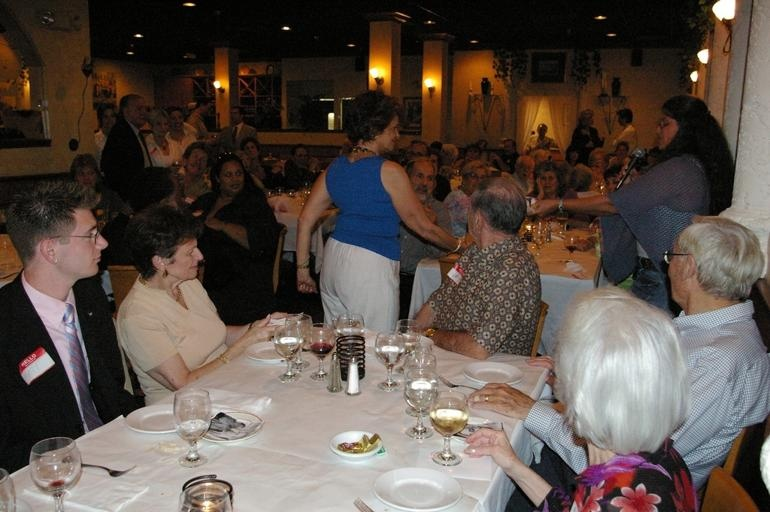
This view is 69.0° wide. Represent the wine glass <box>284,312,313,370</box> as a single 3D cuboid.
[{"bbox_3d":[-0.377,0.381,2.449,0.130,0.264,0.137,21,33,29],"label":"wine glass"}]

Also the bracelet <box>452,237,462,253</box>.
[{"bbox_3d":[0.479,-0.072,3.671,0.030,0.077,0.064,14,-1,-5],"label":"bracelet"}]

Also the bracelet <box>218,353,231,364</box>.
[{"bbox_3d":[-0.736,0.473,2.581,0.041,0.011,0.039,5,33,-12],"label":"bracelet"}]

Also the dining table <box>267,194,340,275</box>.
[{"bbox_3d":[-0.941,-0.280,6.908,1.145,0.571,0.923,10,39,14],"label":"dining table"}]

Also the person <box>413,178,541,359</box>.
[{"bbox_3d":[0.504,0.061,3.122,0.690,0.904,1.048,-4,6,-10],"label":"person"}]

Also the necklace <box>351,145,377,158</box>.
[{"bbox_3d":[-0.124,-0.608,3.315,0.114,0.054,0.077,15,-20,-32],"label":"necklace"}]

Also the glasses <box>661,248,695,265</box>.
[{"bbox_3d":[1.216,0.017,2.303,0.089,0.028,0.087,5,10,21],"label":"glasses"}]

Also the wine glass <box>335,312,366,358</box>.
[{"bbox_3d":[-0.155,0.351,2.475,0.161,0.224,0.162,1,-14,-9],"label":"wine glass"}]

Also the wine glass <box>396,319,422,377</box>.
[{"bbox_3d":[0.102,0.422,2.517,0.136,0.262,0.136,-1,8,-33],"label":"wine glass"}]

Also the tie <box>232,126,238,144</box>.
[{"bbox_3d":[-2.703,-2.201,10.213,0.063,0.284,0.077,9,-1,19],"label":"tie"}]

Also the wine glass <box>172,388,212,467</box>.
[{"bbox_3d":[-0.654,0.566,1.908,0.113,0.233,0.183,-4,11,-22],"label":"wine glass"}]

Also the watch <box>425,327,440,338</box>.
[{"bbox_3d":[0.253,0.405,2.962,0.039,0.050,0.049,-20,48,-35],"label":"watch"}]

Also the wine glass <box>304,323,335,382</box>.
[{"bbox_3d":[-0.279,0.419,2.462,0.145,0.232,0.144,0,2,32],"label":"wine glass"}]

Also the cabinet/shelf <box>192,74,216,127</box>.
[{"bbox_3d":[-6.288,-5.145,18.915,0.389,1.600,0.673,11,19,31],"label":"cabinet/shelf"}]
